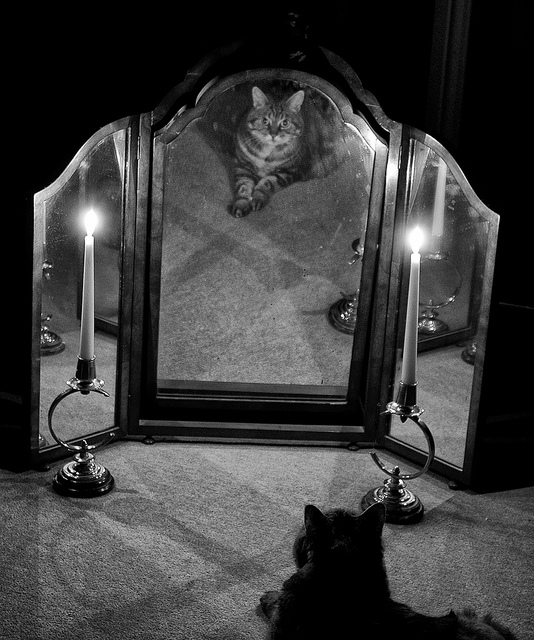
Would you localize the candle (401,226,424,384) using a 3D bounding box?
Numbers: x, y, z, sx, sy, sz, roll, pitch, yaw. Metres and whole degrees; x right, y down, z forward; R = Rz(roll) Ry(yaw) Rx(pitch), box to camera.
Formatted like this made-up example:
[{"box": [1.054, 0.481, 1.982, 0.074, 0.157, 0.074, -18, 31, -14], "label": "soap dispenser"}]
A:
[{"box": [0.157, -0.018, 0.747, 0.017, 0.162, 0.072, 5, 13, 11], "label": "candle"}]

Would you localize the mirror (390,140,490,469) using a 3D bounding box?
[{"box": [0.197, -0.015, 0.804, 0.024, 0.375, 0.108, -9, 17, -41], "label": "mirror"}]

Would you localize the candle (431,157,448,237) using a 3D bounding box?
[{"box": [0.194, -0.137, 0.779, 0.015, 0.085, 0.011, 8, 14, 26], "label": "candle"}]

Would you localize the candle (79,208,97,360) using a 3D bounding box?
[{"box": [-0.191, -0.038, 0.738, 0.019, 0.154, 0.049, -2, 13, -15], "label": "candle"}]
